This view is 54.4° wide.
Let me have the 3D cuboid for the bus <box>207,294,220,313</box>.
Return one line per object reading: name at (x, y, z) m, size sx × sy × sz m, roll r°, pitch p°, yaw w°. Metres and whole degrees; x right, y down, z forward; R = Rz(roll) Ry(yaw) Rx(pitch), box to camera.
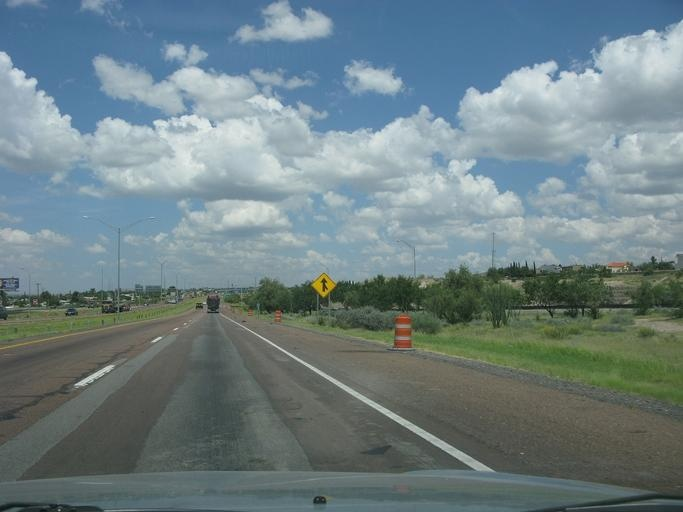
bus at (-20.362, 7.533, 105.118) m, size 1.674 × 2.946 × 7.123 m, roll 1°, pitch -7°, yaw -13°
